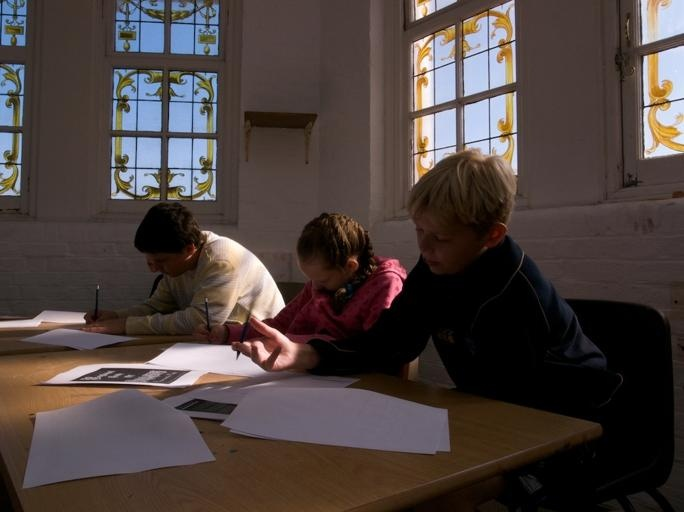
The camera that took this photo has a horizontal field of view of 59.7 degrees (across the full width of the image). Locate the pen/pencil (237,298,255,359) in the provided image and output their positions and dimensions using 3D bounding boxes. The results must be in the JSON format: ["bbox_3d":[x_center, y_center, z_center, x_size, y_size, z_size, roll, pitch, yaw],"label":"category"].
[{"bbox_3d":[-0.330,0.242,2.020,0.010,0.136,0.013,17,-4,36],"label":"pen/pencil"}]

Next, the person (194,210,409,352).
[{"bbox_3d":[-0.099,0.145,2.030,0.750,0.511,0.545,-10,8,-36],"label":"person"}]

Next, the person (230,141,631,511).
[{"bbox_3d":[0.271,0.352,1.718,1.118,1.275,0.497,-1,4,-19],"label":"person"}]

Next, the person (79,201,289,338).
[{"bbox_3d":[-0.629,0.050,2.579,0.472,0.571,0.898,4,4,39],"label":"person"}]
